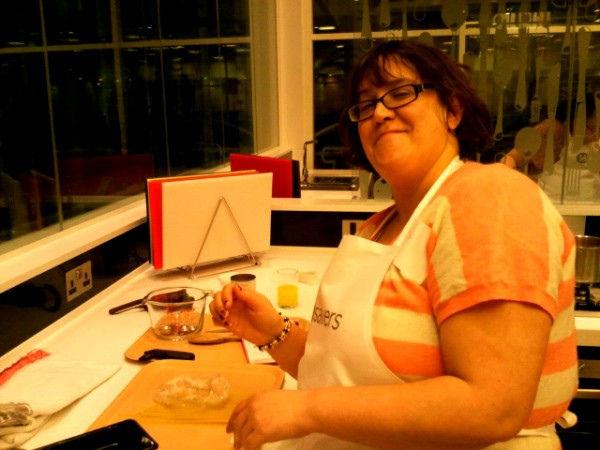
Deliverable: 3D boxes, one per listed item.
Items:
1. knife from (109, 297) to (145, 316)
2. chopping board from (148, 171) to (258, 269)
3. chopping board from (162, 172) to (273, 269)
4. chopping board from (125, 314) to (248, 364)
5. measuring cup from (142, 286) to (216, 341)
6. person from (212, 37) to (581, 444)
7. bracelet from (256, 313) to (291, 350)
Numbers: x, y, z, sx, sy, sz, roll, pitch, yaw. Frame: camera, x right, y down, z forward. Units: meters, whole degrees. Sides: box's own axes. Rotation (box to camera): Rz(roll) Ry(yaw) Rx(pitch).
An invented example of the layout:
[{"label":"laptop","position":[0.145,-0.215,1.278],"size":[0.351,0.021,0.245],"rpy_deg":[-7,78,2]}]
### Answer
[{"label":"knife","position":[-0.614,0.293,1.784],"size":[0.146,0.032,0.036],"rpy_deg":[-24,12,-30]},{"label":"chopping board","position":[-0.382,-0.012,2.238],"size":[0.066,0.430,0.647],"rpy_deg":[19,21,33]},{"label":"chopping board","position":[-0.355,-0.023,2.121],"size":[0.443,0.288,0.059],"rpy_deg":[-9,19,-36]},{"label":"chopping board","position":[-0.319,0.366,1.510],"size":[0.368,0.027,0.200],"rpy_deg":[1,12,7]},{"label":"measuring cup","position":[-0.385,0.292,1.663],"size":[0.261,0.124,0.195],"rpy_deg":[-1,9,-17]},{"label":"person","position":[0.193,0.018,1.036],"size":[0.690,0.818,0.618],"rpy_deg":[-2,13,-7]},{"label":"bracelet","position":[-0.061,0.283,1.296],"size":[0.075,0.093,0.058],"rpy_deg":[-9,15,-34]}]
